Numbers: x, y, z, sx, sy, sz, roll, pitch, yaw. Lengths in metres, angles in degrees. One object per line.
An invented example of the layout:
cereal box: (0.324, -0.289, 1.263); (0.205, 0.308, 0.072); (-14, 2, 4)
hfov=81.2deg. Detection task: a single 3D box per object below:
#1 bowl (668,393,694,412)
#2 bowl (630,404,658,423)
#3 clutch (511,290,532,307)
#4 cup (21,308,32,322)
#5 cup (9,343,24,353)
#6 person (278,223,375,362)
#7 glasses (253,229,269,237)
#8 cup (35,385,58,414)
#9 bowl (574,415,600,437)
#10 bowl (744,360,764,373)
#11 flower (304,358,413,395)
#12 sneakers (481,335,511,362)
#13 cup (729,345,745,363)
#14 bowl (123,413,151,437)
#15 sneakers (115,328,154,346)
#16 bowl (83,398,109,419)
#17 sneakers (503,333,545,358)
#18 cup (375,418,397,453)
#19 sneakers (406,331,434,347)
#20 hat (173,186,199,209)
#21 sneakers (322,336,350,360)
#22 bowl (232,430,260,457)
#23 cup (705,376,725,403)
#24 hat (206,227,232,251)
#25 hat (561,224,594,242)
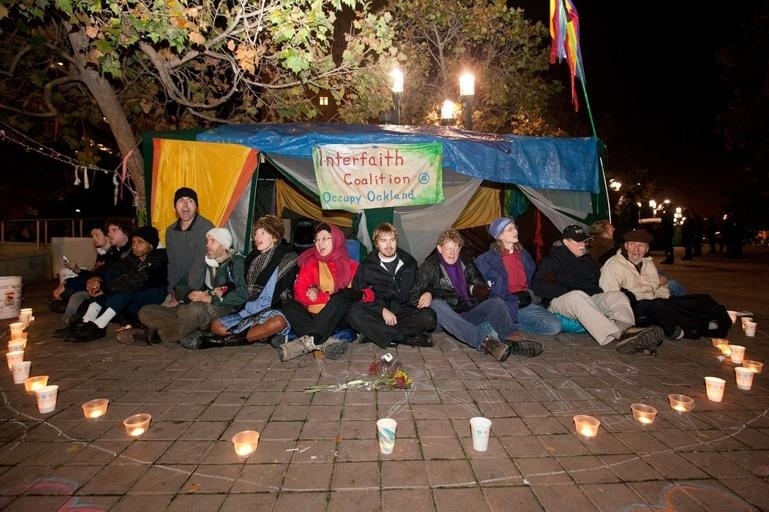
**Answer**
bowl: (3.255, 1.602, 4.917); (0.196, 0.088, 0.221); (4, -3, -42)
bowl: (2.748, 1.649, 4.745); (0.214, 0.089, 0.200); (2, 1, 0)
clutch: (2.217, 0.677, 7.152); (0.245, 0.097, 0.297); (2, 5, 27)
cup: (-6.058, 1.006, 7.597); (0.246, 0.220, 0.237); (2, -2, 0)
cup: (-5.000, 1.239, 6.150); (0.176, 0.105, 0.176); (2, -6, 0)
person: (-0.831, 0.451, 6.516); (1.295, 1.807, 1.118); (-1, 9, -5)
glasses: (-1.872, -0.346, 6.824); (0.132, 0.147, 0.161); (1, -2, 8)
cup: (-3.692, 1.550, 4.914); (0.174, 0.275, 0.232); (-8, 12, -41)
bowl: (2.058, 1.710, 4.556); (0.233, 0.129, 0.214); (1, 2, 0)
bowl: (4.697, 1.409, 5.714); (0.193, 0.067, 0.170); (-2, -4, 33)
flower: (-0.367, 1.478, 5.537); (1.539, 0.400, 0.562); (-2, 26, -1)
sneakers: (1.531, 1.253, 6.168); (0.222, 0.173, 0.420); (-35, 21, -13)
cup: (4.733, 1.322, 6.031); (0.155, 0.242, 0.195); (6, 10, 34)
bowl: (-2.508, 1.704, 4.557); (0.250, 0.132, 0.230); (2, -12, 0)
sneakers: (-3.757, 1.174, 6.662); (0.678, 0.198, 0.248); (0, 6, -23)
bowl: (-3.104, 1.630, 4.831); (0.229, 0.095, 0.216); (3, 4, 0)
sneakers: (1.955, 1.247, 6.246); (0.607, 0.214, 0.266); (12, 14, 41)
cup: (0.031, 1.717, 4.359); (0.173, 0.328, 0.231); (0, 9, -1)
sneakers: (0.524, 1.227, 6.653); (0.390, 0.220, 0.113); (0, 9, 0)
hat: (-3.260, -0.952, 7.417); (0.361, 0.233, 0.335); (-1, -14, -1)
sneakers: (-0.685, 1.277, 6.221); (0.345, 0.253, 0.279); (-1, 8, -10)
bowl: (-1.298, 1.783, 4.300); (0.249, 0.139, 0.244); (-1, -1, 0)
cup: (3.761, 1.519, 5.103); (0.193, 0.257, 0.133); (3, 9, 21)
hat: (-2.476, -0.260, 6.922); (0.306, 0.266, 0.382); (13, -7, 42)
hat: (3.131, -0.383, 7.275); (0.277, 0.208, 0.402); (3, -2, -43)
